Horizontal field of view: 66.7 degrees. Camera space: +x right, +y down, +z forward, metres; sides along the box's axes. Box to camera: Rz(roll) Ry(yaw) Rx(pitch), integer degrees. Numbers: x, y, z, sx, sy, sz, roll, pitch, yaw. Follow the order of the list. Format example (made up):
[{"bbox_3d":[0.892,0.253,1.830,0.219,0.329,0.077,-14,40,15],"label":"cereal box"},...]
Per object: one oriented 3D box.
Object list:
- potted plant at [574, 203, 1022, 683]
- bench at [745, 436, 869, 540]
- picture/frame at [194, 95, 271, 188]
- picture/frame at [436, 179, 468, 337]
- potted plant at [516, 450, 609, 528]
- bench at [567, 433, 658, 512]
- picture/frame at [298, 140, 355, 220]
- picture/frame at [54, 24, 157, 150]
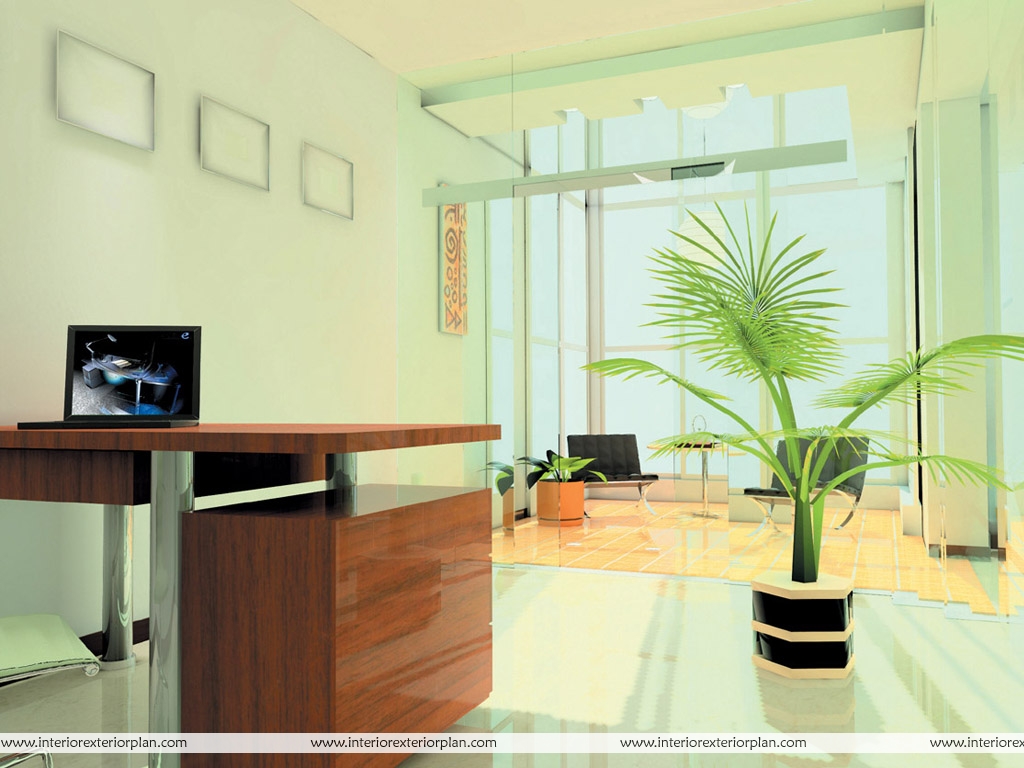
[{"bbox_3d":[1.499,0.074,4.390,1.751,2.364,2.144,0,4,7],"label":"potted plant"},{"bbox_3d":[1.985,0.605,5.147,0.766,0.749,0.776,-4,-9,33],"label":"bench"},{"bbox_3d":[-1.564,-1.324,4.260,0.013,0.414,0.615,-1,-3,27],"label":"picture/frame"},{"bbox_3d":[-0.458,-0.858,5.830,0.221,0.983,0.143,0,4,-5],"label":"picture/frame"},{"bbox_3d":[0.365,0.760,5.802,0.533,0.400,0.538,-1,-2,26],"label":"potted plant"},{"bbox_3d":[0.837,0.659,6.931,0.924,0.765,0.531,3,-4,-31],"label":"bench"},{"bbox_3d":[-1.202,-1.285,4.903,0.023,0.418,0.587,-2,-4,25],"label":"picture/frame"},{"bbox_3d":[-1.950,-1.394,3.658,0.027,0.503,0.706,-2,-3,29],"label":"picture/frame"}]
